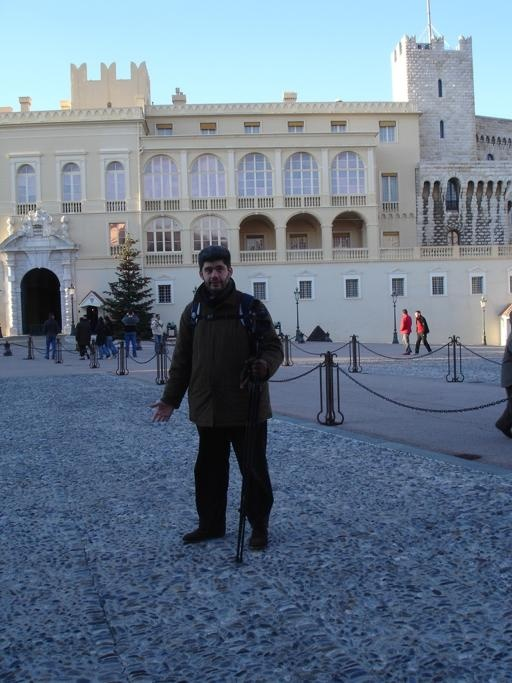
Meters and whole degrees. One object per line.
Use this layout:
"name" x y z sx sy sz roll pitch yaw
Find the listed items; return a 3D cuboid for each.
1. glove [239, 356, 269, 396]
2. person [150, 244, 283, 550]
"glove" -0.014 0.188 4.054 0.127 0.170 0.067 14 16 -5
"person" -0.194 0.314 4.329 0.768 1.721 0.428 -1 3 26
